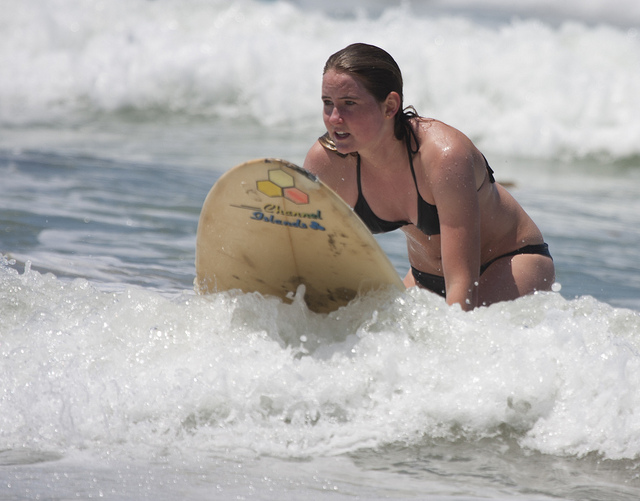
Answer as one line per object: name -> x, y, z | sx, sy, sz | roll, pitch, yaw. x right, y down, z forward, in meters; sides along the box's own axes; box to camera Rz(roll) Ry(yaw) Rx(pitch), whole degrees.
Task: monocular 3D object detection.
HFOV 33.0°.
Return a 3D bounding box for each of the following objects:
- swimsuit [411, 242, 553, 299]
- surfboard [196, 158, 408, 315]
swimsuit -> 0.862, 0.095, 5.715 | 0.637, 0.125, 0.304 | -19, 31, 0
surfboard -> -0.118, 0.020, 5.516 | 0.928, 0.214, 1.453 | 3, -29, 9
